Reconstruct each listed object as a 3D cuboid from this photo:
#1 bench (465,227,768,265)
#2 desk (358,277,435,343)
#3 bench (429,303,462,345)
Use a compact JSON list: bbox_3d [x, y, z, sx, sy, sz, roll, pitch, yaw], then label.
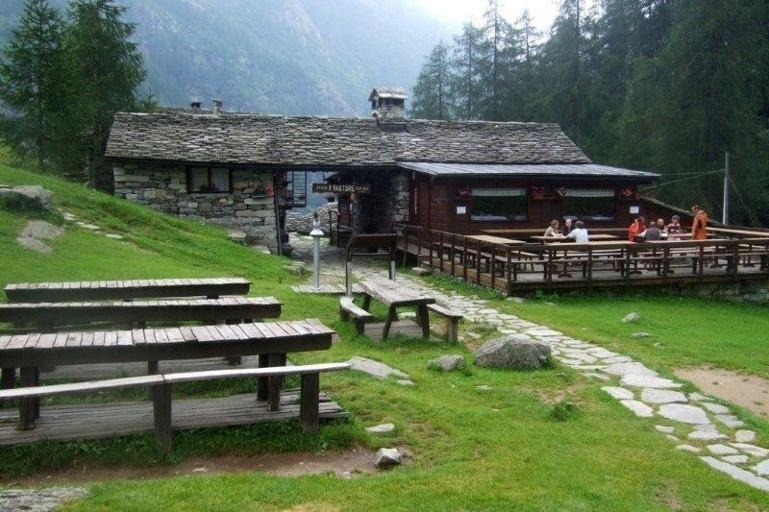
[{"bbox_3d":[7.374,-0.202,17.844,9.394,0.927,2.572,1,1,-15],"label":"bench"},{"bbox_3d":[0.334,0.910,12.493,1.061,0.722,2.787,-1,8,-17],"label":"desk"},{"bbox_3d":[1.327,1.446,12.489,0.562,0.595,0.795,1,1,-31],"label":"bench"}]
